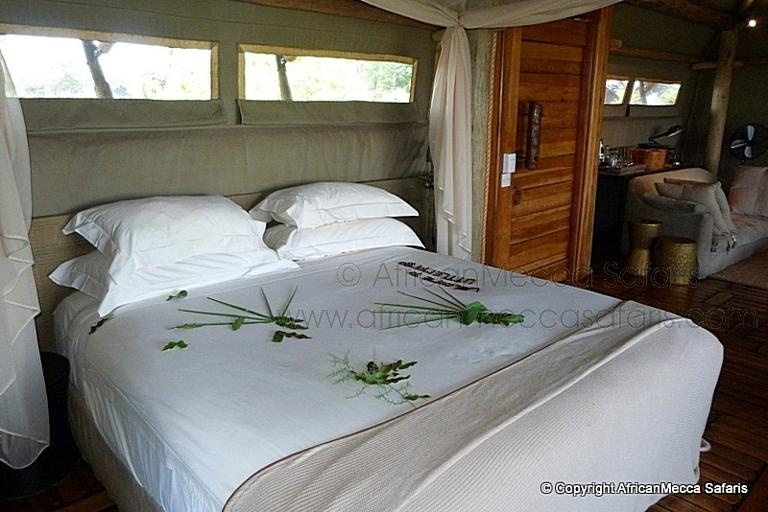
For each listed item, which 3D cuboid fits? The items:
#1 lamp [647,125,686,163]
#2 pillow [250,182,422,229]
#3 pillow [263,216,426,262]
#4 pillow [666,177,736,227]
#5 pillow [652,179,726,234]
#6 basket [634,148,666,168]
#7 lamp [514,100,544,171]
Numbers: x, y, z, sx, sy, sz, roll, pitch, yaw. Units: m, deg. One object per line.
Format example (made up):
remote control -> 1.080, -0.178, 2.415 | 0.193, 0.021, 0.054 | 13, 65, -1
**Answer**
lamp -> 3.977, -1.639, 6.588 | 0.425, 0.537, 0.317 | 21, 19, 26
pillow -> -0.403, -0.458, 3.542 | 1.110, 0.245, 0.711 | -9, 21, -33
pillow -> -0.329, -0.184, 3.315 | 0.763, 0.177, 0.484 | -7, 17, -28
pillow -> 3.359, -0.510, 5.029 | 0.679, 0.167, 0.632 | 11, 0, 10
pillow -> 3.269, -0.514, 4.870 | 0.326, 0.501, 0.579 | 0, 13, -35
basket -> 3.564, -1.313, 6.128 | 0.371, 0.207, 0.335 | 4, 8, 27
lamp -> 1.298, -1.091, 4.099 | 0.199, 0.612, 0.172 | 2, 20, 14
